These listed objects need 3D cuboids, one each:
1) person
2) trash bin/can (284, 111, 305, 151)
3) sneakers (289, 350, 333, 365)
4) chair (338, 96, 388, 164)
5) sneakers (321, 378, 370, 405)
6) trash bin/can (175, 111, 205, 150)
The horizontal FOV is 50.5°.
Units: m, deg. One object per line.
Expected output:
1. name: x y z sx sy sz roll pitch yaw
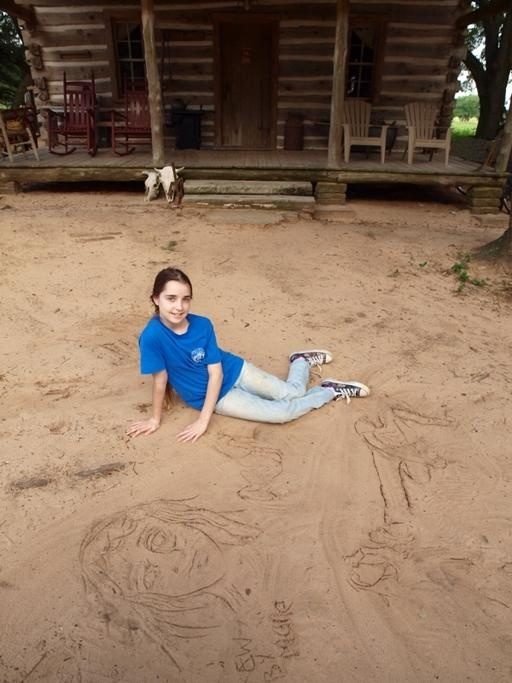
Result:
1. person: -0.090 0.026 3.522 1.508 0.878 0.982 1 40 0
2. trash bin/can: 0.784 -4.119 10.637 0.435 0.712 0.282 -2 23 -9
3. sneakers: 0.438 0.115 4.326 0.354 0.120 0.132 -7 34 -12
4. chair: 1.957 -3.862 9.885 0.751 1.117 1.985 5 21 7
5. sneakers: 0.659 0.348 3.909 0.419 0.129 0.166 5 42 12
6. trash bin/can: -1.332 -4.144 10.634 0.657 0.646 0.650 18 34 28
